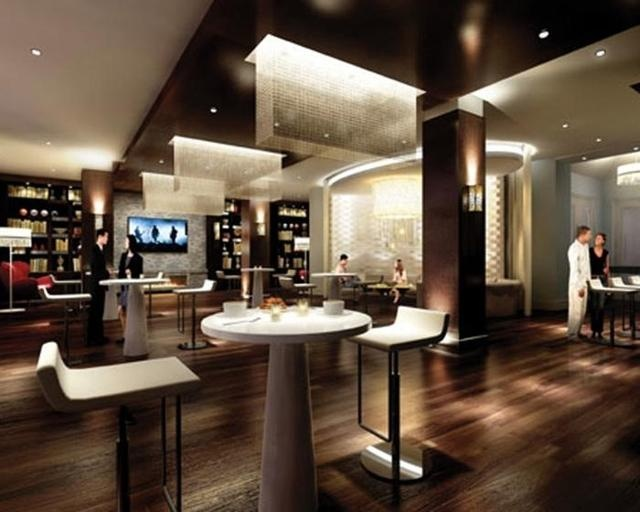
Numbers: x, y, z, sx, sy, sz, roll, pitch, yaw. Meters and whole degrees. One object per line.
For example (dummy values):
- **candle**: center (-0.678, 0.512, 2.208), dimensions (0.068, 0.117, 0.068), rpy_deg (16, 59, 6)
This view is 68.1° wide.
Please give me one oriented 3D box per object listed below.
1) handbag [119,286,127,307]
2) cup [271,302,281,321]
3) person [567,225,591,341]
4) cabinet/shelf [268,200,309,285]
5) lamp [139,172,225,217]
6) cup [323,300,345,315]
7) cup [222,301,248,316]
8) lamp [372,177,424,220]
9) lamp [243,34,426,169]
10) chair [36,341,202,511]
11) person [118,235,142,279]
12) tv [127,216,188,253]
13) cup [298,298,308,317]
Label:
- **handbag**: center (-3.524, 0.710, 8.426), dimensions (0.110, 0.357, 0.388), rpy_deg (-2, 2, -21)
- **cup**: center (-0.315, 0.396, 3.386), dimensions (0.088, 0.107, 0.086), rpy_deg (0, 4, 0)
- **person**: center (3.825, 0.408, 6.969), dimensions (0.301, 1.676, 0.643), rpy_deg (0, 2, 30)
- **cabinet/shelf**: center (-1.005, -0.259, 16.612), dimensions (1.294, 3.312, 0.341), rpy_deg (-2, 17, -17)
- **lamp**: center (-2.551, -1.101, 8.878), dimensions (1.541, 0.742, 0.206), rpy_deg (-1, 8, -33)
- **cup**: center (0.104, 0.376, 3.501), dimensions (0.112, 0.074, 0.115), rpy_deg (0, 0, 0)
- **cup**: center (-0.614, 0.373, 3.433), dimensions (0.125, 0.078, 0.119), rpy_deg (0, 0, 0)
- **lamp**: center (1.618, -1.250, 10.430), dimensions (1.072, 0.860, 1.121), rpy_deg (-3, 1, 40)
- **lamp**: center (0.168, -1.647, 5.484), dimensions (2.064, 0.929, 0.639), rpy_deg (4, -2, -31)
- **chair**: center (-1.305, 1.170, 3.091), dimensions (0.907, 1.235, 0.680), rpy_deg (-2, 2, -32)
- **person**: center (-3.050, -0.001, 7.544), dimensions (0.373, 0.677, 1.097), rpy_deg (-2, 2, -22)
- **tv**: center (-4.650, -0.599, 13.288), dimensions (1.141, 0.761, 0.042), rpy_deg (0, 0, -38)
- **cup**: center (-0.110, 0.382, 3.549), dimensions (0.092, 0.163, 0.097), rpy_deg (0, 0, 0)
